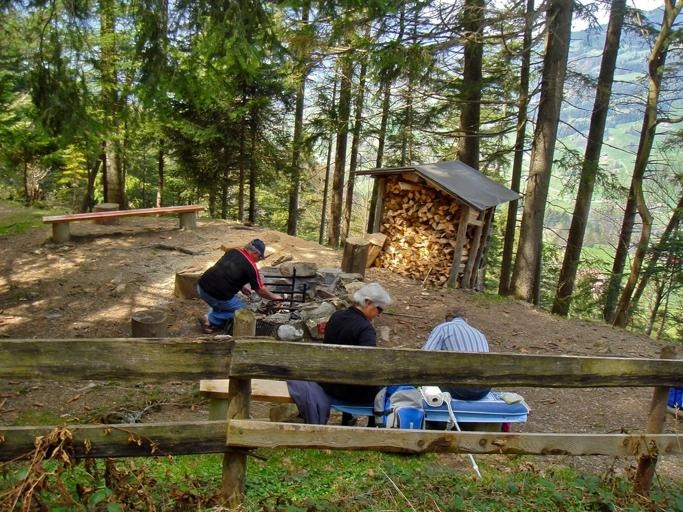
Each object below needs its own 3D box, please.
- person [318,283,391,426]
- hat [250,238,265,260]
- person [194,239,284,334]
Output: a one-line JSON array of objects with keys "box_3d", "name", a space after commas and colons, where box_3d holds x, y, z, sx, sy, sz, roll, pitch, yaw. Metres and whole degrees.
[{"box_3d": [0.136, 1.368, 7.419, 0.870, 2.054, 0.724, 11, 13, -1], "name": "person"}, {"box_3d": [-1.380, -0.126, 9.293, 0.166, 0.293, 0.280, 20, 15, 38], "name": "hat"}, {"box_3d": [-1.809, 0.509, 9.491, 1.205, 1.711, 0.632, 8, 13, -7], "name": "person"}]
